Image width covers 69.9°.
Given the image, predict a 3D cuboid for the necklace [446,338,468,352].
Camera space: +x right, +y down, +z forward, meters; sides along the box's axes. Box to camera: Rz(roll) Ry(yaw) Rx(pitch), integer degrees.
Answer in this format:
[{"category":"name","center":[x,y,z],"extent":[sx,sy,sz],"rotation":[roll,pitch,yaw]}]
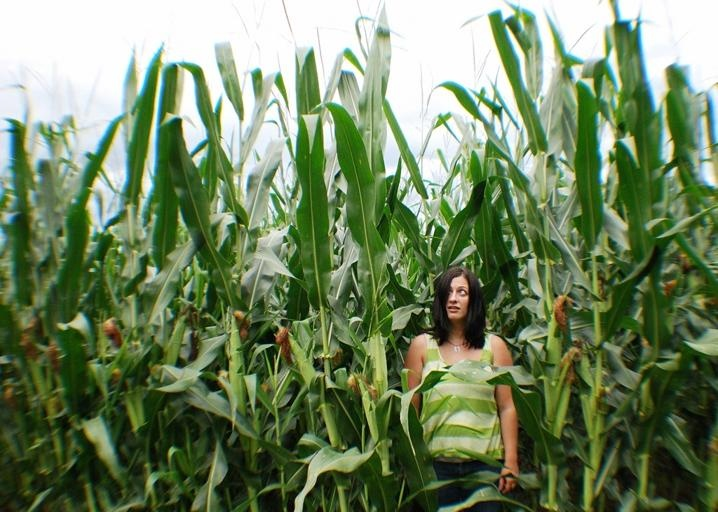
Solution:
[{"category":"necklace","center":[0.461,0.426,2.427],"extent":[0.090,0.014,0.103],"rotation":[4,24,10]}]
